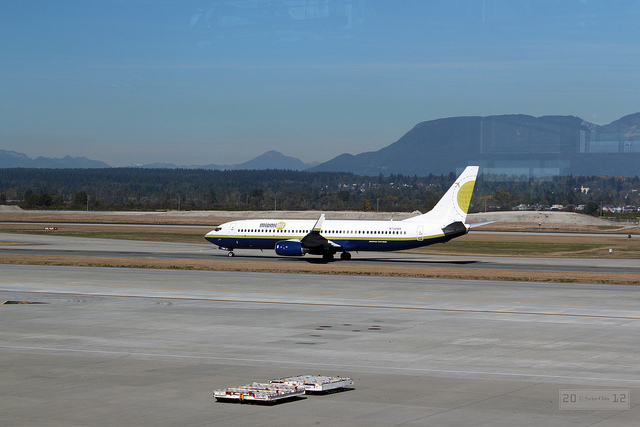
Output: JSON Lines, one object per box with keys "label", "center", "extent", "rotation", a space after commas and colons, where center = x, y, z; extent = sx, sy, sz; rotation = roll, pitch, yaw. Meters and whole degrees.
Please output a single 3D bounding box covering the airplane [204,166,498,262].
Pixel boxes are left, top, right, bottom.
{"label": "airplane", "center": [2.008, -0.189, 91.354], "extent": [25.102, 8.565, 16.040], "rotation": [1, 1, 5]}
